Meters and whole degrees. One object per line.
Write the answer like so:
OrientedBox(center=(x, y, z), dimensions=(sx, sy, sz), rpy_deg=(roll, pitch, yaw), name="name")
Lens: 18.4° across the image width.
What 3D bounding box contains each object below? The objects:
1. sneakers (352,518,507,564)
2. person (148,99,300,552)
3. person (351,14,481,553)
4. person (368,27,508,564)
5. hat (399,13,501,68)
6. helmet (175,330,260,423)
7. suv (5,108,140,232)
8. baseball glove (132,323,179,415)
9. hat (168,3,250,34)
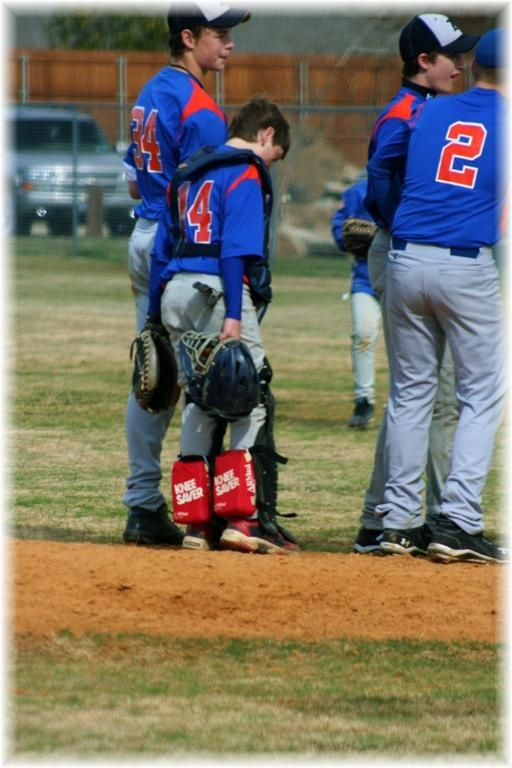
OrientedBox(center=(0.731, 0.670, 6.563), dimensions=(0.467, 0.197, 0.261), rpy_deg=(1, -7, 4), name="sneakers")
OrientedBox(center=(-0.108, -0.245, 6.556), dimensions=(0.524, 1.864, 0.634), rpy_deg=(-3, 12, -28), name="person")
OrientedBox(center=(0.769, -0.472, 6.974), dimensions=(0.646, 2.330, 0.678), rpy_deg=(1, 12, 16), name="person")
OrientedBox(center=(0.806, -0.350, 6.486), dimensions=(0.553, 2.190, 0.477), rpy_deg=(3, 11, 4), name="person")
OrientedBox(center=(0.751, -1.464, 6.614), dimensions=(0.277, 0.162, 0.196), rpy_deg=(-12, 22, 12), name="hat")
OrientedBox(center=(-0.141, -0.050, 6.391), dimensions=(0.319, 0.321, 0.259), rpy_deg=(8, 14, 27), name="helmet")
OrientedBox(center=(-2.212, -2.457, 19.169), dimensions=(1.551, 1.749, 2.944), rpy_deg=(0, 4, -16), name="suv")
OrientedBox(center=(-0.458, 0.018, 6.757), dimensions=(0.076, 0.267, 0.289), rpy_deg=(-25, 7, -23), name="baseball glove")
OrientedBox(center=(-0.206, -1.530, 6.566), dimensions=(0.207, 0.097, 0.154), rpy_deg=(-1, 11, 15), name="hat")
